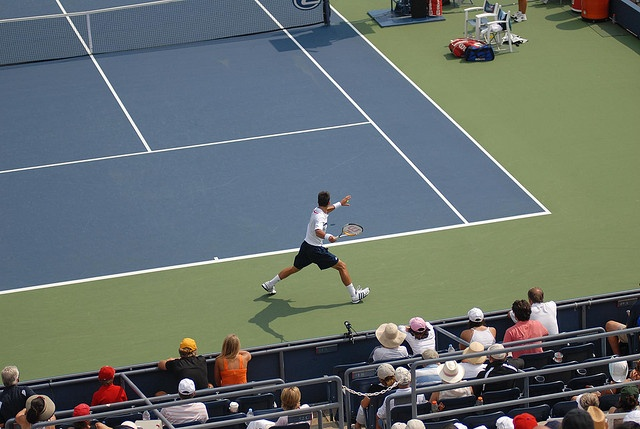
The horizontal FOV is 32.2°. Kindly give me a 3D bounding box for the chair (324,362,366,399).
[{"bbox_3d":[0.573,3.180,21.095,0.705,0.676,1.471,-12,-2,-14],"label":"chair"}]

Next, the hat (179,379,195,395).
[{"bbox_3d":[-2.435,3.121,20.078,0.231,0.153,0.317,-1,20,-7],"label":"hat"}]

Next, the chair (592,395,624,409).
[{"bbox_3d":[5.191,3.324,19.699,0.301,0.315,0.286,-2,26,-6],"label":"chair"}]

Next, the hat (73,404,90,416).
[{"bbox_3d":[-4.228,3.440,19.473,0.220,0.158,0.311,-5,2,-33],"label":"hat"}]

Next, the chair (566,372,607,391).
[{"bbox_3d":[4.893,3.024,20.051,0.835,0.282,0.311,-10,-3,-33],"label":"chair"}]

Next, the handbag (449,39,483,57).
[{"bbox_3d":[4.382,-4.973,33.162,0.823,0.246,0.565,-10,23,-13],"label":"handbag"}]

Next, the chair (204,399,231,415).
[{"bbox_3d":[-1.878,3.543,20.229,0.393,0.396,0.317,-1,41,-10],"label":"chair"}]

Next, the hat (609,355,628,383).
[{"bbox_3d":[5.443,2.838,20.053,0.438,0.535,0.217,5,-15,11],"label":"hat"}]

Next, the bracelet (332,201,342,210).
[{"bbox_3d":[0.366,-0.187,23.915,0.154,0.063,0.144,19,11,-1],"label":"bracelet"}]

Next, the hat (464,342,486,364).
[{"bbox_3d":[2.915,2.528,20.592,0.436,0.217,0.434,9,42,9],"label":"hat"}]

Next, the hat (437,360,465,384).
[{"bbox_3d":[2.376,2.860,20.059,0.440,0.175,0.464,4,39,8],"label":"hat"}]

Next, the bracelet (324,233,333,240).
[{"bbox_3d":[0.170,0.489,23.861,0.185,0.084,0.242,-5,13,2],"label":"bracelet"}]

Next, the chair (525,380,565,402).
[{"bbox_3d":[4.106,3.140,19.997,0.659,0.296,0.367,-12,-2,8],"label":"chair"}]

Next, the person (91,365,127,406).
[{"bbox_3d":[-3.969,3.413,20.768,0.676,1.067,0.577,-4,4,-7],"label":"person"}]

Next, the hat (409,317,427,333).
[{"bbox_3d":[1.898,2.141,21.447,0.357,0.268,0.248,-13,-2,8],"label":"hat"}]

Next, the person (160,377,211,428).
[{"bbox_3d":[-2.488,3.401,19.960,0.791,0.779,0.453,-12,-3,-9],"label":"person"}]

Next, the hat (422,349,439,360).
[{"bbox_3d":[2.017,2.575,20.285,0.234,0.204,0.163,7,34,-1],"label":"hat"}]

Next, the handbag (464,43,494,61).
[{"bbox_3d":[4.776,-4.813,32.986,0.641,0.245,0.533,4,17,13],"label":"handbag"}]

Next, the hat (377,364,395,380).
[{"bbox_3d":[1.190,2.834,19.937,0.249,0.162,0.320,-5,18,0],"label":"hat"}]

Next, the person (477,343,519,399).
[{"bbox_3d":[3.220,2.868,20.018,0.999,0.959,0.555,-2,25,2],"label":"person"}]

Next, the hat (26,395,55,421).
[{"bbox_3d":[-5.042,3.477,19.828,0.478,0.441,0.439,-12,-2,-16],"label":"hat"}]

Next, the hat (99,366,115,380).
[{"bbox_3d":[-4.022,2.972,20.667,0.315,0.223,0.336,-12,-2,-13],"label":"hat"}]

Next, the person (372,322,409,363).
[{"bbox_3d":[1.349,2.454,21.173,0.589,0.335,0.817,-35,45,-22],"label":"person"}]

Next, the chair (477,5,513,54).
[{"bbox_3d":[5.356,-5.589,33.833,1.112,1.452,1.160,-11,37,-12],"label":"chair"}]

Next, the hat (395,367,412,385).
[{"bbox_3d":[1.490,2.911,19.842,0.305,0.373,0.196,-8,12,1],"label":"hat"}]

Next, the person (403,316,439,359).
[{"bbox_3d":[2.039,2.354,21.565,0.568,0.812,0.808,-20,-34,9],"label":"person"}]

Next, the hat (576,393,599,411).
[{"bbox_3d":[4.577,3.172,18.870,0.289,0.330,0.345,0,30,4],"label":"hat"}]

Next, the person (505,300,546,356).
[{"bbox_3d":[3.954,2.191,21.050,0.840,1.200,0.725,-6,24,3],"label":"person"}]

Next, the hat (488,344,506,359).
[{"bbox_3d":[3.217,2.502,20.080,0.281,0.257,0.324,0,3,0],"label":"hat"}]
